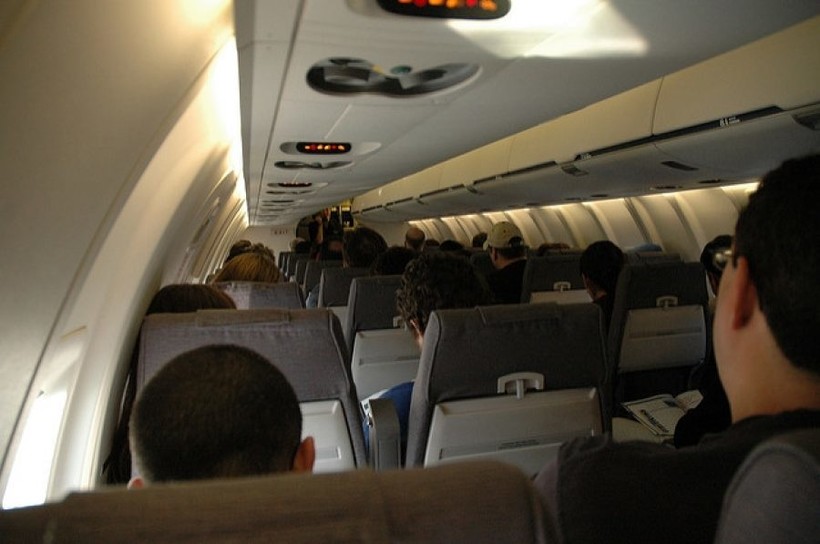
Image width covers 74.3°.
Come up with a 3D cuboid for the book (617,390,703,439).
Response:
[{"bbox_3d":[1.078,0.578,2.281,0.270,0.044,0.185,-7,10,-36],"label":"book"}]
